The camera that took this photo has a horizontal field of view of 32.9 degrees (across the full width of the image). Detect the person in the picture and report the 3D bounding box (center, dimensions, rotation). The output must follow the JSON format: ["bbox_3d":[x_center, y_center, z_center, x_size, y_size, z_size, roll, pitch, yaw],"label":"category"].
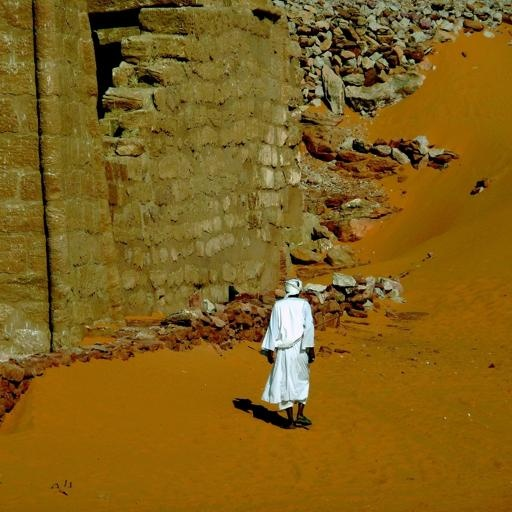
[{"bbox_3d":[0.301,0.925,8.263,0.498,1.352,0.543,-2,14,3],"label":"person"}]

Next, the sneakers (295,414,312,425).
[{"bbox_3d":[0.449,1.556,8.228,0.194,0.118,0.063,-4,15,-18],"label":"sneakers"}]
